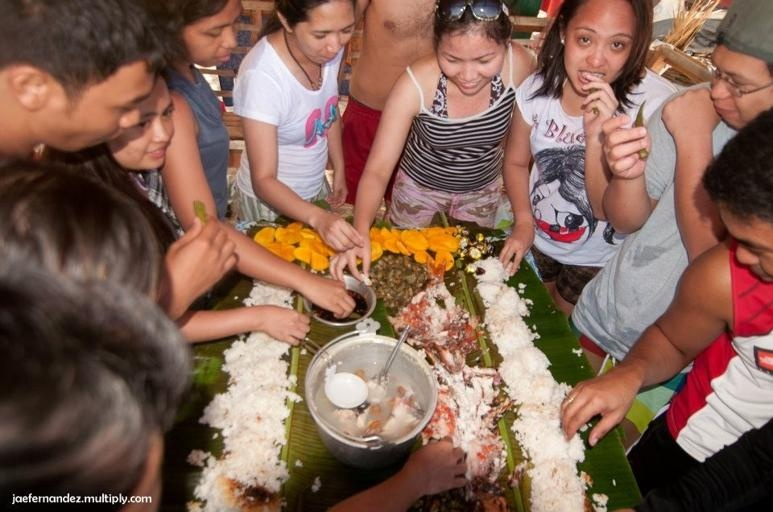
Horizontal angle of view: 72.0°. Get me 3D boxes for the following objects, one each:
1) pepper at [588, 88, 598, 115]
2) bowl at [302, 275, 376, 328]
[{"bbox_3d":[1.198,-0.884,3.091,0.031,0.135,0.035,-15,59,9],"label":"pepper"},{"bbox_3d":[-0.219,0.284,2.947,0.275,0.059,0.288,1,54,-2],"label":"bowl"}]
